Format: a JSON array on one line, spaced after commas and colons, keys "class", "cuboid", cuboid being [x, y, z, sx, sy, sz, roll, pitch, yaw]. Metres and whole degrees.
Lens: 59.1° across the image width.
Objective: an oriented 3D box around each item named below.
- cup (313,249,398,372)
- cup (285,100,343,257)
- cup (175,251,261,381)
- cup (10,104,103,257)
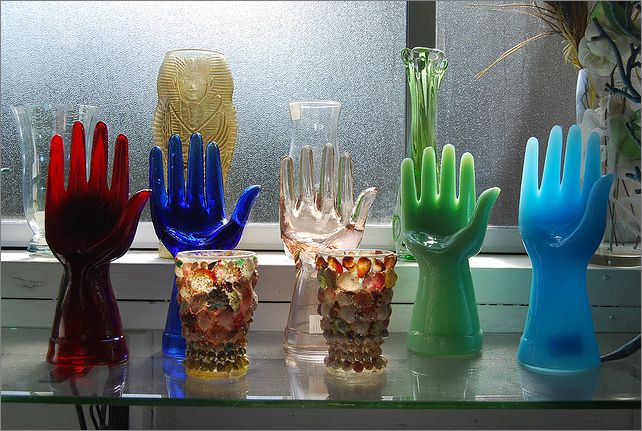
[{"class": "cup", "cuboid": [0.068, 0.181, 1.039, 0.154, 0.215, 0.146, 0, -5, 0]}, {"class": "cup", "cuboid": [-0.025, -0.078, 1.288, 0.159, 0.403, 0.153, 1, 33, -1]}, {"class": "cup", "cuboid": [-0.192, 0.180, 1.039, 0.152, 0.220, 0.143, -1, -4, 0]}, {"class": "cup", "cuboid": [-0.587, -0.083, 1.284, 0.182, 0.334, 0.315, -7, 16, -27]}]
